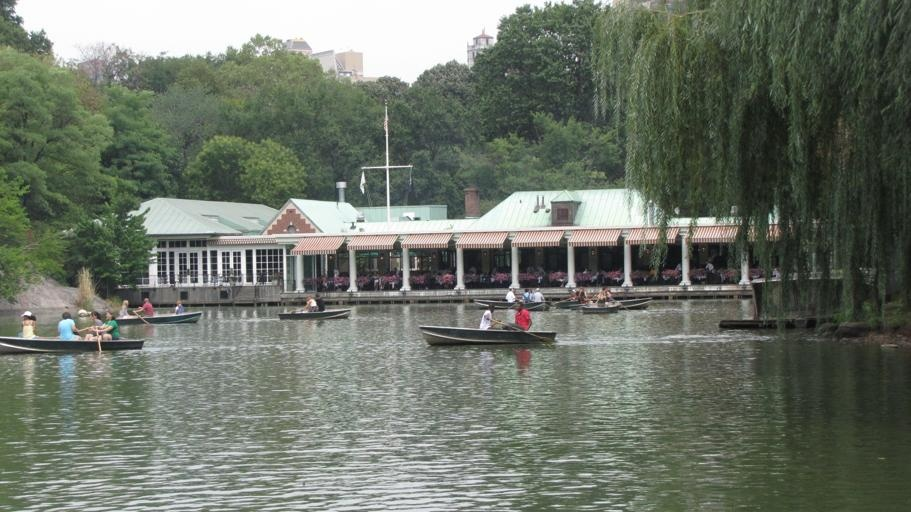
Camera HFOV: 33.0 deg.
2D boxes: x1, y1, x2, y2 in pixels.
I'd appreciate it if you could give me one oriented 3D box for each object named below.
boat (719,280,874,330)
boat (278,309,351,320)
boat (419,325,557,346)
[{"bbox_3d":[19.803,2.998,92.224,7.976,3.033,14.334,2,-5,7],"label":"boat"},{"bbox_3d":[-10.244,4.386,110.938,4.919,0.726,1.634,-3,0,-6],"label":"boat"},{"bbox_3d":[1.683,4.946,92.954,7.536,1.320,1.242,2,-5,4],"label":"boat"}]
